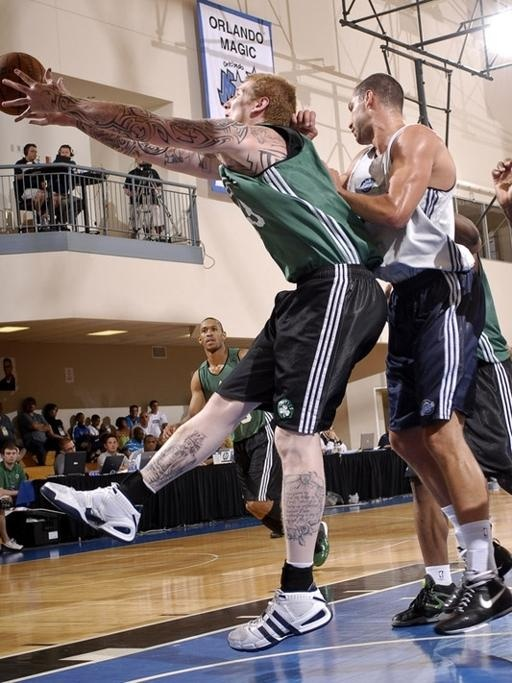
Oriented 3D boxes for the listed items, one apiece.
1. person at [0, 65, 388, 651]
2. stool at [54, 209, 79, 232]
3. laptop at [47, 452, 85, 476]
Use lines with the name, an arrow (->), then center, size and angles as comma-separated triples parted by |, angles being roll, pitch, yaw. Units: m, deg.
person -> -0.072, 0.010, 1.776 | 0.878, 1.730, 0.517 | -3, 2, 17
stool -> -3.374, -2.106, 10.328 | 0.297, 0.263, 0.471 | 2, 36, 2
laptop -> -2.907, 1.854, 9.135 | 0.556, 0.445, 0.379 | 8, -8, -44
